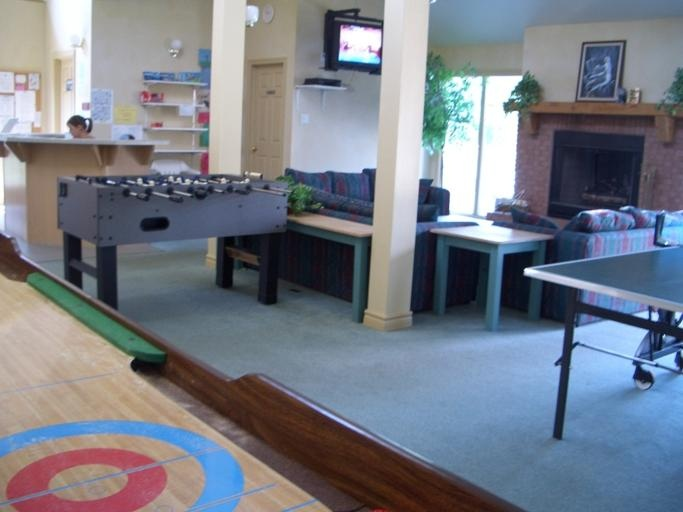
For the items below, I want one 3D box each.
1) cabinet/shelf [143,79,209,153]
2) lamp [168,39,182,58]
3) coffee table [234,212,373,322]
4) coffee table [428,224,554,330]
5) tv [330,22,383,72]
[{"bbox_3d":[-3.022,-2.538,9.461,1.181,1.176,0.483,-2,15,-20],"label":"cabinet/shelf"},{"bbox_3d":[-2.977,-3.753,9.415,0.277,0.316,0.261,-5,15,-29],"label":"lamp"},{"bbox_3d":[-0.336,0.110,5.001,0.327,0.556,0.906,-15,26,-42],"label":"coffee table"},{"bbox_3d":[1.412,0.031,4.878,0.991,0.926,0.972,-6,10,-35],"label":"coffee table"},{"bbox_3d":[0.225,-3.419,8.598,0.915,0.749,0.488,-3,16,-18],"label":"tv"}]
